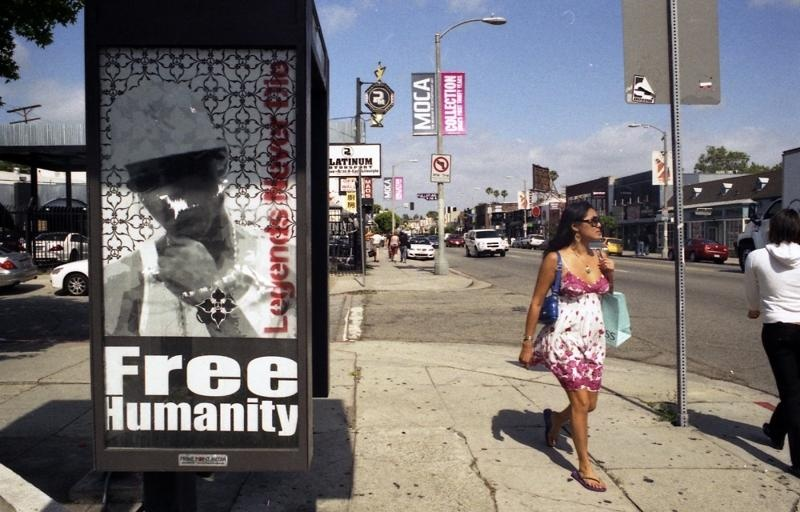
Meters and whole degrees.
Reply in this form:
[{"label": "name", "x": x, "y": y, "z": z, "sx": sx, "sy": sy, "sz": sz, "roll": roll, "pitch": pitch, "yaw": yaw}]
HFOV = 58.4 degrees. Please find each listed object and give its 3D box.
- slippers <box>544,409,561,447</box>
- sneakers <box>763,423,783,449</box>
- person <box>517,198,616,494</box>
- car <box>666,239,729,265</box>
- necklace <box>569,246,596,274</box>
[{"label": "slippers", "x": 1.616, "y": 1.846, "z": 7.694, "sx": 0.140, "sy": 0.400, "sz": 0.133, "roll": -1, "pitch": 2, "yaw": 15}, {"label": "sneakers", "x": 4.001, "y": 1.951, "z": 7.673, "sx": 0.109, "sy": 0.143, "sz": 0.335, "roll": -6, "pitch": 44, "yaw": 2}, {"label": "person", "x": 1.701, "y": 0.847, "z": 7.246, "sx": 0.833, "sy": 2.776, "sz": 0.833, "roll": 1, "pitch": 7, "yaw": 16}, {"label": "car", "x": 12.801, "y": -0.131, "z": 30.560, "sx": 1.006, "sy": 0.756, "sz": 2.452, "roll": 0, "pitch": 7, "yaw": -8}, {"label": "necklace", "x": 1.824, "y": 0.050, "z": 7.191, "sx": 0.257, "sy": 0.255, "sz": 0.101, "roll": 4, "pitch": -12, "yaw": -12}]
